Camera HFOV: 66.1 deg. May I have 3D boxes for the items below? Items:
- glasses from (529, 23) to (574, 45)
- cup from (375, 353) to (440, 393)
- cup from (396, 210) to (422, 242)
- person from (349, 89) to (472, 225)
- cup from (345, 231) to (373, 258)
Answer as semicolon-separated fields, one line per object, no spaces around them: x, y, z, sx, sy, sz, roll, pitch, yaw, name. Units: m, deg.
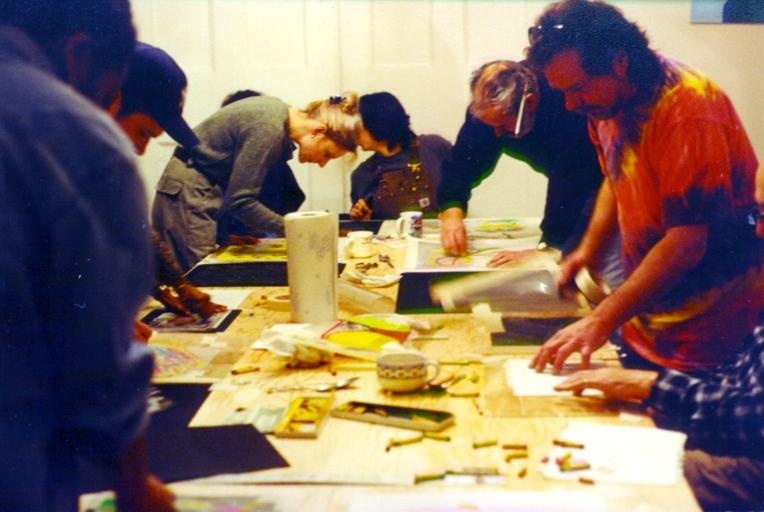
0.558;-0.736;1.944;0.105;0.055;0.038;2;-7;13;glasses
0.066;0.281;1.415;0.147;0.064;0.105;0;6;4;cup
0.126;-0.129;2.545;0.133;0.115;0.082;-9;13;-41;cup
0.116;-0.529;3.145;0.676;0.746;0.362;-5;38;12;person
-0.088;-0.039;2.380;0.084;0.077;0.121;4;6;24;cup
